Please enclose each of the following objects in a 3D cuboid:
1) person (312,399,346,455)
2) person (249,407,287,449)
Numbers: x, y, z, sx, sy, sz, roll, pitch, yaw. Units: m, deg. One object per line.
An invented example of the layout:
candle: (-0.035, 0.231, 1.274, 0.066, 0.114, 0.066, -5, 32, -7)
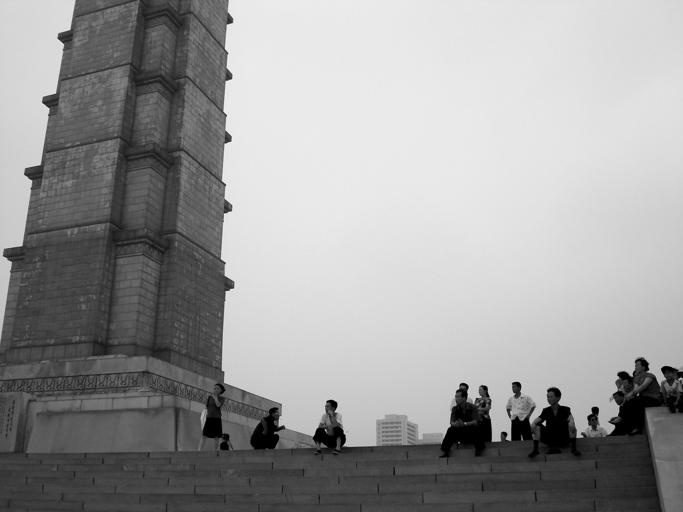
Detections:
person: (-0.383, 4.631, 19.450, 0.805, 1.320, 1.045, 2, -26, -1)
person: (-2.181, 5.116, 21.081, 1.044, 1.207, 0.688, 7, 4, -8)
